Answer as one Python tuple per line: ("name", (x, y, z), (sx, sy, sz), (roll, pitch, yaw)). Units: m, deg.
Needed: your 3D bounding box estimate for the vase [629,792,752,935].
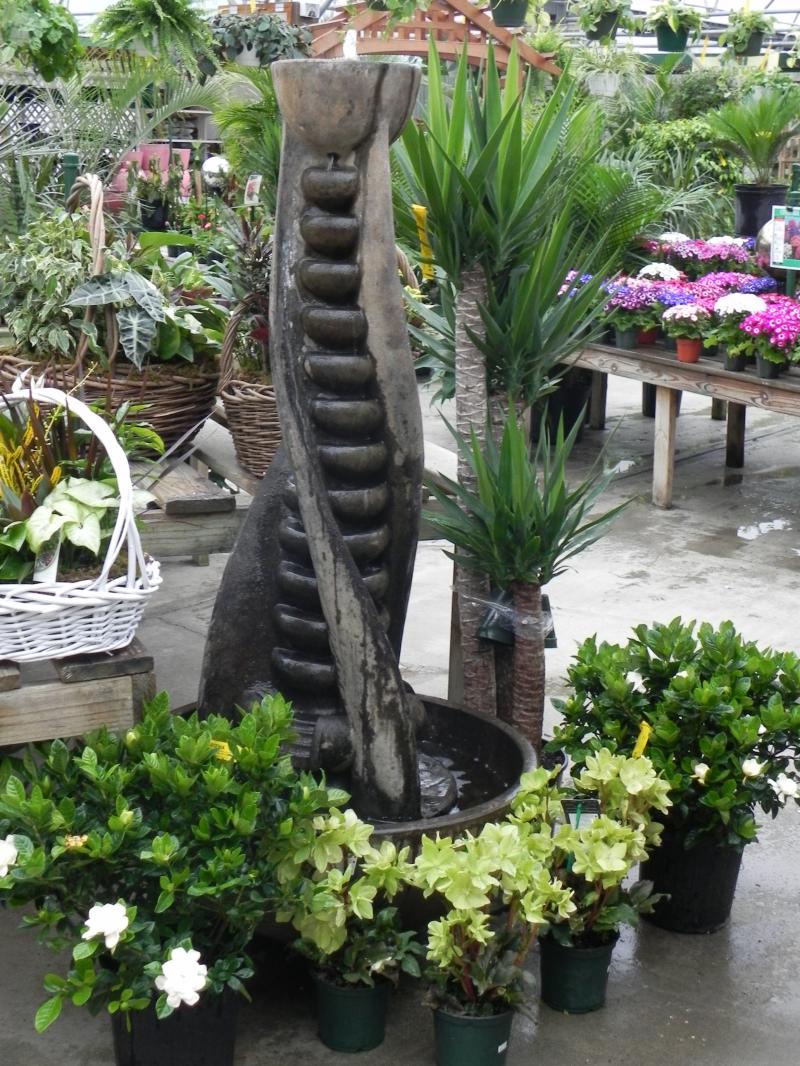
("vase", (0.568, 0.673, 2.073), (0.265, 0.254, 0.282), (1, 5, 2))
